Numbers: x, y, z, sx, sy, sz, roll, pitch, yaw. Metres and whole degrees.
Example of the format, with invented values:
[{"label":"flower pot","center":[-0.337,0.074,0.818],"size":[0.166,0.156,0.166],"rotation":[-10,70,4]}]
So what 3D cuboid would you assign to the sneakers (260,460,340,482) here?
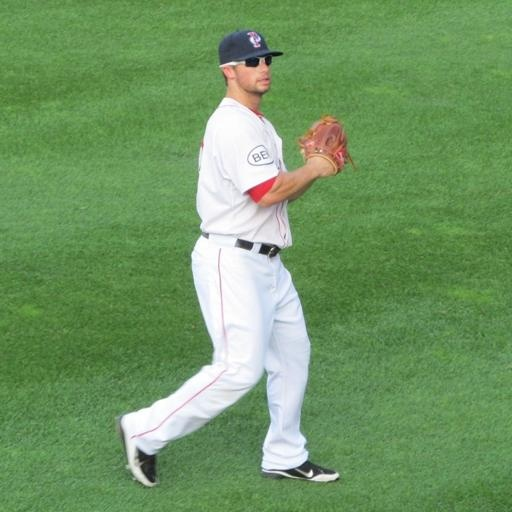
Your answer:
[{"label":"sneakers","center":[0.196,0.972,3.751],"size":[0.349,0.150,0.127],"rotation":[0,1,-3]}]

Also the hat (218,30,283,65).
[{"label":"hat","center":[-0.039,-0.910,3.581],"size":[0.296,0.157,0.223],"rotation":[12,22,42]}]

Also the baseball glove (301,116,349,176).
[{"label":"baseball glove","center":[0.314,-0.506,3.644],"size":[0.193,0.124,0.264],"rotation":[29,69,1]}]

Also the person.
[{"label":"person","center":[-0.075,0.047,3.577],"size":[0.850,1.774,1.004],"rotation":[9,30,6]}]
